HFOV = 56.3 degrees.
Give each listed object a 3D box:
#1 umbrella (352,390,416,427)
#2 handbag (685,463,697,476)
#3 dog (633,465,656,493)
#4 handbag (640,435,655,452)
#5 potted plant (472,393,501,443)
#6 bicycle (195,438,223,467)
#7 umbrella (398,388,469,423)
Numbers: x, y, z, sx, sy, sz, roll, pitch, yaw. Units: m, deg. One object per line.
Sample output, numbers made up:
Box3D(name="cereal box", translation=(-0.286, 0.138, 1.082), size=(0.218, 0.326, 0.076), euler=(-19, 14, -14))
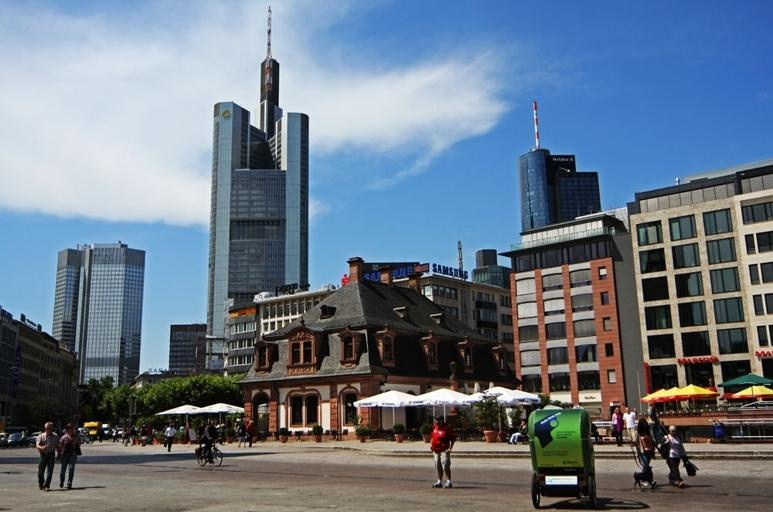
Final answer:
Box3D(name="umbrella", translation=(0.678, 11.697, 55.060), size=(5.181, 2.969, 5.208), euler=(-7, -7, 35))
Box3D(name="handbag", translation=(12.435, 8.680, 29.453), size=(0.368, 0.552, 1.001), euler=(-9, -15, 20))
Box3D(name="dog", translation=(10.424, 8.925, 29.129), size=(0.827, 0.905, 1.213), euler=(-8, -15, 18))
Box3D(name="handbag", translation=(10.777, 7.729, 29.725), size=(0.621, 0.625, 0.238), euler=(1, -15, -15))
Box3D(name="potted plant", translation=(7.451, 11.751, 52.014), size=(1.789, 3.225, 1.056), euler=(-6, -15, 12))
Box3D(name="bicycle", translation=(-9.794, 10.970, 40.003), size=(1.315, 1.546, 2.591), euler=(13, -22, -39))
Box3D(name="umbrella", translation=(4.537, 10.623, 53.220), size=(5.057, 2.028, 5.152), euler=(6, -14, -25))
